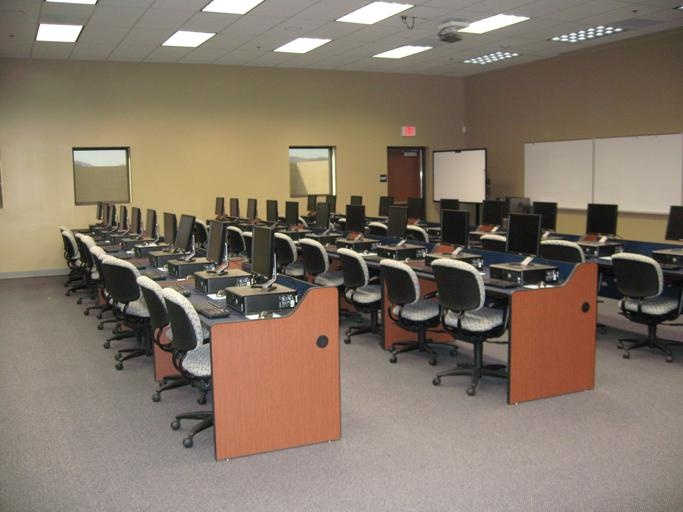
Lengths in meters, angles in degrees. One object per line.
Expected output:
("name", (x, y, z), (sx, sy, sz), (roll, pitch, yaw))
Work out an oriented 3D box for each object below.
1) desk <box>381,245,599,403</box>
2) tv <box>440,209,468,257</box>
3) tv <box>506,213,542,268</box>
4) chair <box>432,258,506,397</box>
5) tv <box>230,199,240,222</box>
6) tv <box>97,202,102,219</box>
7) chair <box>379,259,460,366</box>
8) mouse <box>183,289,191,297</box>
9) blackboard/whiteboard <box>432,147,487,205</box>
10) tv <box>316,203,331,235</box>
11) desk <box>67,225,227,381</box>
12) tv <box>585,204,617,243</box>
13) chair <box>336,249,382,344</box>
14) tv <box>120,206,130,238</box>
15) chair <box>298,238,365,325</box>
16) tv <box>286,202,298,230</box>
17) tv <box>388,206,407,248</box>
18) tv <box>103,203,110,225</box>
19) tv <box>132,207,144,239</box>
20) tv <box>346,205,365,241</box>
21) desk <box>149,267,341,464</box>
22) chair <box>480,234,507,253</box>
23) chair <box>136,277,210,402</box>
("desk", (1.472, 0.650, 4.457), (1.008, 1.081, 1.812), (0, 0, -30))
("tv", (1.241, -0.242, 5.424), (0.080, 0.458, 0.538), (0, -1, -25))
("tv", (1.751, -0.139, 4.747), (0.164, 0.359, 0.478), (-3, 12, -26))
("chair", (1.192, 0.583, 4.331), (0.794, 1.023, 0.746), (0, -1, 35))
("tv", (-2.338, -0.979, 10.765), (0.064, 0.438, 0.464), (-4, 22, -24))
("tv", (-5.027, -0.929, 10.245), (0.060, 0.529, 0.407), (0, 2, -29))
("chair", (0.762, 0.535, 4.919), (0.720, 0.970, 0.739), (-2, 1, -35))
("mouse", (-1.295, 0.311, 4.130), (0.066, 0.020, 0.087), (-2, 12, -16))
("blackboard/whiteboard", (3.071, -2.038, 12.663), (0.222, 1.689, 2.093), (-5, 6, -36))
("tv", (-0.295, -0.586, 7.823), (0.078, 0.387, 0.548), (-5, 5, -17))
("desk", (-2.179, 0.663, 6.158), (1.667, 2.302, 1.758), (-9, 15, -36))
("tv", (3.444, -0.424, 6.549), (0.082, 0.568, 0.565), (-6, 5, -40))
("chair", (0.356, 0.429, 5.642), (0.758, 1.010, 0.671), (0, 1, -2))
("tv", (-3.816, -0.577, 8.668), (0.069, 0.474, 0.636), (2, 10, -24))
("chair", (-0.126, 0.282, 6.415), (0.807, 1.103, 0.758), (-4, 7, -16))
("tv", (-0.851, -0.680, 8.469), (0.061, 0.399, 0.537), (-1, 1, -22))
("tv", (0.722, -0.365, 6.378), (0.077, 0.465, 0.543), (0, 3, -25))
("tv", (-4.662, -0.814, 9.782), (0.066, 0.582, 0.471), (-1, 4, -27))
("tv", (-3.227, -0.499, 7.792), (0.079, 0.721, 0.745), (-2, 2, -29))
("tv", (0.200, -0.474, 7.141), (0.068, 0.500, 0.515), (-1, 7, -17))
("desk", (-0.754, 0.651, 3.709), (1.025, 1.070, 1.712), (-5, 8, -27))
("chair", (1.928, -0.157, 6.263), (0.278, 0.163, 0.270), (-7, 11, -33))
("chair", (-1.178, 0.609, 3.824), (0.658, 0.840, 0.606), (-5, -4, -8))
